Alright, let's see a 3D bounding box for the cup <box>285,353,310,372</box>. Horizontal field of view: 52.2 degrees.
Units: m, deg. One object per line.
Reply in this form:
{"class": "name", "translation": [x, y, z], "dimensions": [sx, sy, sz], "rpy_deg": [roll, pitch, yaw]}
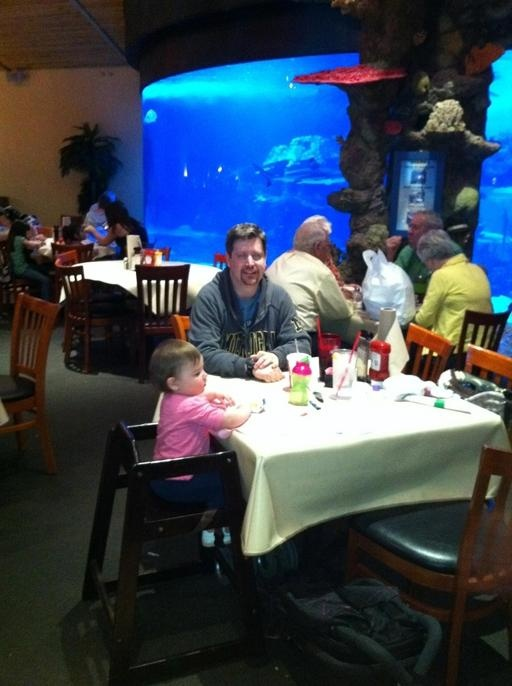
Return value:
{"class": "cup", "translation": [0.143, 0.063, 1.829], "dimensions": [0.071, 0.051, 0.062], "rpy_deg": [-4, 10, -29]}

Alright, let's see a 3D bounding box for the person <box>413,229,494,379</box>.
{"class": "person", "translation": [1.288, -0.254, 3.675], "dimensions": [0.620, 1.079, 0.537], "rpy_deg": [15, 34, 37]}

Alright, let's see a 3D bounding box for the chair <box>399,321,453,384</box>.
{"class": "chair", "translation": [0.826, 0.036, 2.545], "dimensions": [0.190, 0.299, 0.173], "rpy_deg": [-25, 51, -31]}

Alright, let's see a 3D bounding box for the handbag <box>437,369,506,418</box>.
{"class": "handbag", "translation": [0.761, 0.163, 1.875], "dimensions": [0.139, 0.059, 0.246], "rpy_deg": [-29, 33, -33]}

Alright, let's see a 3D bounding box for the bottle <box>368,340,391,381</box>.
{"class": "bottle", "translation": [0.460, 0.066, 1.968], "dimensions": [0.064, 0.160, 0.104], "rpy_deg": [-8, 19, -24]}

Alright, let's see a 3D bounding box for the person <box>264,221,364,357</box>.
{"class": "person", "translation": [0.359, -0.285, 3.384], "dimensions": [0.652, 1.008, 0.524], "rpy_deg": [-4, 24, -19]}

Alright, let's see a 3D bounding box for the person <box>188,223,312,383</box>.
{"class": "person", "translation": [-0.040, -0.165, 2.286], "dimensions": [0.517, 0.717, 0.512], "rpy_deg": [14, 25, 27]}
